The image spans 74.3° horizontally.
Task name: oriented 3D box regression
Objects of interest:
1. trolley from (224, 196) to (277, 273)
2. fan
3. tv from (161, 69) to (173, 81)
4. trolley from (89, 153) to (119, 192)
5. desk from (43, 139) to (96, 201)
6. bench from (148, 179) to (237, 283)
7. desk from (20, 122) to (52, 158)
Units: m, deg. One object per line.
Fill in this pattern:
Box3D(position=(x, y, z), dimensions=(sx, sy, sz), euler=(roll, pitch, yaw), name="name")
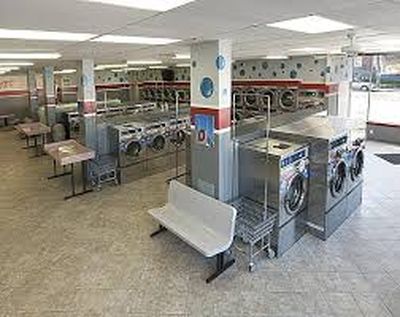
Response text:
Box3D(position=(0.800, 1.212, 4.109), dimensions=(0.602, 0.855, 0.741), euler=(-16, 26, -36), name="trolley")
Box3D(position=(2.368, -1.810, 4.352), dimensions=(0.504, 0.287, 1.590), euler=(7, 20, 31), name="fan")
Box3D(position=(-1.572, -3.974, 12.583), dimensions=(0.579, 0.580, 0.142), euler=(7, 16, 35), name="tv")
Box3D(position=(-2.495, 0.329, 6.834), dimensions=(0.627, 0.773, 0.624), euler=(3, 10, 45), name="trolley")
Box3D(position=(-3.300, 0.233, 6.599), dimensions=(0.775, 0.927, 1.480), euler=(-11, 21, -43), name="desk")
Box3D(position=(-0.184, 1.090, 4.247), dimensions=(0.604, 0.960, 1.576), euler=(-12, 21, -40), name="bench")
Box3D(position=(-6.038, -0.657, 9.697), dimensions=(0.628, 0.818, 1.227), euler=(-8, 21, -35), name="desk")
